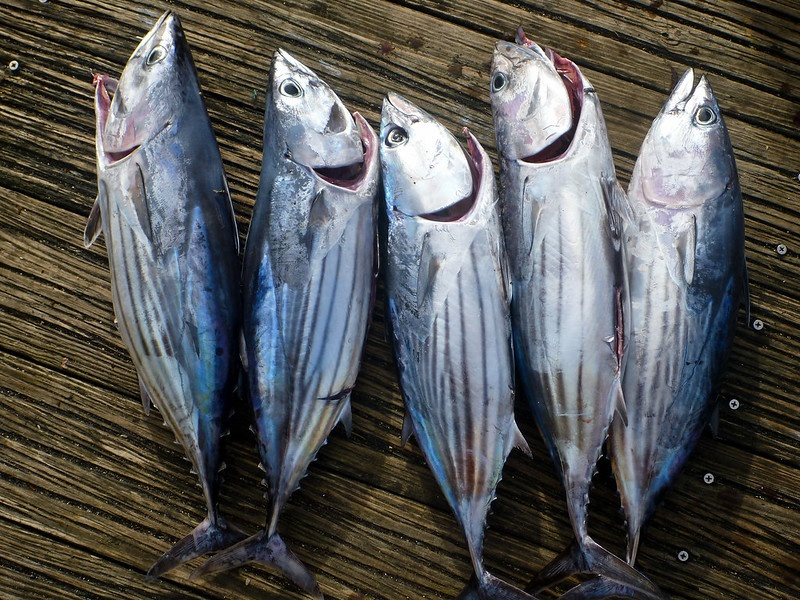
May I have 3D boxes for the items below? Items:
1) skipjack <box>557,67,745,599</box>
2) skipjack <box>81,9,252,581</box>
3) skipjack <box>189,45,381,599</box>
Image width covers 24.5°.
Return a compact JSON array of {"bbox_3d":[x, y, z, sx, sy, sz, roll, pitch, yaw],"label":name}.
[{"bbox_3d":[0.992,0.046,6.824,0.750,2.054,0.530,5,-2,35],"label":"skipjack"},{"bbox_3d":[-0.839,-0.028,6.672,0.626,2.015,0.376,8,10,42],"label":"skipjack"},{"bbox_3d":[-0.390,0.127,6.842,0.542,2.033,0.770,4,0,-23],"label":"skipjack"}]
